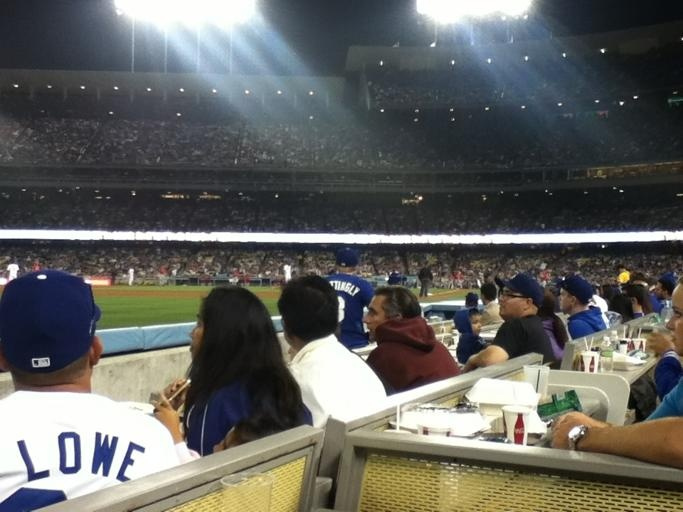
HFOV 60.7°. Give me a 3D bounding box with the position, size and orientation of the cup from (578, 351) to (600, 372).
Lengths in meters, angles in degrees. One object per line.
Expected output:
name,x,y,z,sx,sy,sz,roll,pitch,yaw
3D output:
cup,1.801,0.757,4.230,0.157,0.175,0.160,-2,-4,0

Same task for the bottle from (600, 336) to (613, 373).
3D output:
bottle,2.041,0.756,4.469,0.098,0.238,0.392,-6,-7,24

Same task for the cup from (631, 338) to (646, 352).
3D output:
cup,2.824,0.839,5.514,0.163,0.142,0.166,-3,-2,0

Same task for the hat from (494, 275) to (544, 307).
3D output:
hat,1.477,0.267,4.740,0.329,0.282,0.406,-6,-6,19

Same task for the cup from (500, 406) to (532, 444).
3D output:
cup,0.740,0.721,2.466,0.146,0.180,0.155,-4,5,0

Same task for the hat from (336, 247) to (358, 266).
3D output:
hat,0.062,-0.009,6.345,0.206,0.211,0.242,-3,-6,-8

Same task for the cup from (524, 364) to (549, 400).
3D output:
cup,1.081,0.704,3.208,0.125,0.188,0.356,-5,-6,16
